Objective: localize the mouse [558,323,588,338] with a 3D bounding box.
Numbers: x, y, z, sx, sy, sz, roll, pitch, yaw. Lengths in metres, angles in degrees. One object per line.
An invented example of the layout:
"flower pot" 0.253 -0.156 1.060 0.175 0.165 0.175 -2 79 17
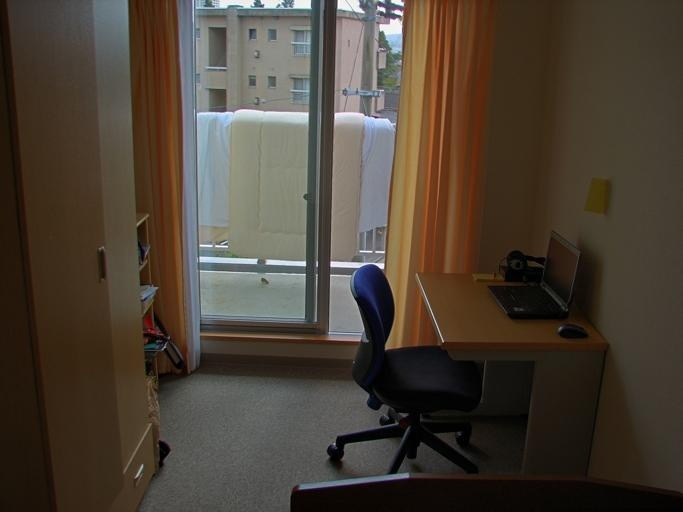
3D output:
"mouse" 1.048 0.338 2.505 0.090 0.033 0.064 -4 16 0

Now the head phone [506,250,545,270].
"head phone" 1.047 0.018 3.117 0.179 0.078 0.148 -2 8 1

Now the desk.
"desk" 0.830 0.700 2.996 0.684 1.001 1.137 1 15 3

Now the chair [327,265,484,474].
"chair" 0.368 0.597 2.817 0.726 1.038 0.778 4 15 15

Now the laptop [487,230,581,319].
"laptop" 0.964 0.161 2.805 0.350 0.375 0.530 -3 24 3
